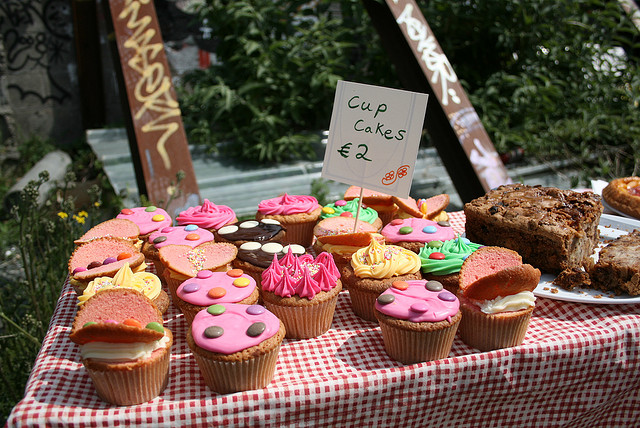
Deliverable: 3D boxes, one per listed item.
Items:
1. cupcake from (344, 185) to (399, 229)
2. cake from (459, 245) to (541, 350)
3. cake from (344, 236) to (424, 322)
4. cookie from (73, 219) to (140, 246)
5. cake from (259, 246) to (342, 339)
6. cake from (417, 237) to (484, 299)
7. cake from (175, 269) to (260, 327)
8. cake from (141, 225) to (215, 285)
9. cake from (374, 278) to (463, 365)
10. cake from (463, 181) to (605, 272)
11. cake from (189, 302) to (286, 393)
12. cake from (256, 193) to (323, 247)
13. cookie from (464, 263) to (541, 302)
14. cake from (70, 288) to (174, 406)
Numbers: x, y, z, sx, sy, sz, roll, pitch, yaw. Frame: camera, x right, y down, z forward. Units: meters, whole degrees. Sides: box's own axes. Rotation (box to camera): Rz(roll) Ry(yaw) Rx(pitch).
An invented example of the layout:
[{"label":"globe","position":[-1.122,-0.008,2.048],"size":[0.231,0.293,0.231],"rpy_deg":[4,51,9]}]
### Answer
[{"label":"cupcake","position":[0.497,-0.137,5.218],"size":[0.429,0.305,0.400],"rpy_deg":[22,21,17]},{"label":"cake","position":[1.392,0.673,4.275],"size":[0.562,0.731,0.595],"rpy_deg":[2,6,3]},{"label":"cake","position":[0.514,0.568,4.466],"size":[0.514,0.580,0.539],"rpy_deg":[-6,10,2]},{"label":"cookie","position":[-1.797,0.137,4.694],"size":[0.368,0.102,0.288],"rpy_deg":[-5,27,17]},{"label":"cake","position":[-0.124,0.640,4.407],"size":[0.675,0.551,0.593],"rpy_deg":[-22,26,-40]},{"label":"cake","position":[1.028,0.402,4.403],"size":[0.453,0.416,0.469],"rpy_deg":[-6,23,-12]},{"label":"cake","position":[-0.799,0.583,4.150],"size":[0.473,0.295,0.471],"rpy_deg":[27,37,34]},{"label":"cake","position":[-1.223,0.261,4.618],"size":[0.516,0.359,0.527],"rpy_deg":[13,43,9]},{"label":"cake","position":[0.755,0.823,4.228],"size":[0.661,0.492,0.671],"rpy_deg":[-12,18,-22]},{"label":"cake","position":[1.930,0.048,4.852],"size":[0.934,0.421,0.904],"rpy_deg":[-24,33,-38]},{"label":"cake","position":[-0.622,0.989,4.068],"size":[0.662,0.518,0.671],"rpy_deg":[-11,24,-25]},{"label":"cake","position":[-0.300,0.054,5.250],"size":[0.602,0.548,0.636],"rpy_deg":[-2,16,12]},{"label":"cookie","position":[1.384,0.499,4.246],"size":[0.533,0.219,0.513],"rpy_deg":[-1,1,5]},{"label":"cake","position":[-1.436,0.943,3.863],"size":[0.701,0.583,0.571],"rpy_deg":[-1,34,1]}]
